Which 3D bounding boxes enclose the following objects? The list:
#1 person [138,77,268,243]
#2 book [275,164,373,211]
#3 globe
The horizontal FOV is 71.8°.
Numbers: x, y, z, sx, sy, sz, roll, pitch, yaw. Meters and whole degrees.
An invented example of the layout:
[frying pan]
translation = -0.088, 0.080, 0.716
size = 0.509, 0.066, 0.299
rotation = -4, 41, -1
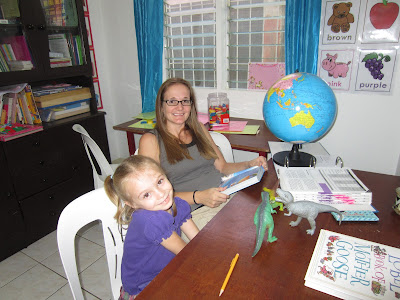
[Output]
[person]
translation = -0.007, 0.062, 1.705
size = 0.617, 0.874, 0.607
rotation = -3, 22, -25
[book]
translation = 0.580, 0.112, 1.286
size = 0.229, 0.064, 0.243
rotation = 1, 18, 8
[globe]
translation = 0.492, -0.166, 1.563
size = 0.334, 0.547, 0.357
rotation = 4, 19, 8
